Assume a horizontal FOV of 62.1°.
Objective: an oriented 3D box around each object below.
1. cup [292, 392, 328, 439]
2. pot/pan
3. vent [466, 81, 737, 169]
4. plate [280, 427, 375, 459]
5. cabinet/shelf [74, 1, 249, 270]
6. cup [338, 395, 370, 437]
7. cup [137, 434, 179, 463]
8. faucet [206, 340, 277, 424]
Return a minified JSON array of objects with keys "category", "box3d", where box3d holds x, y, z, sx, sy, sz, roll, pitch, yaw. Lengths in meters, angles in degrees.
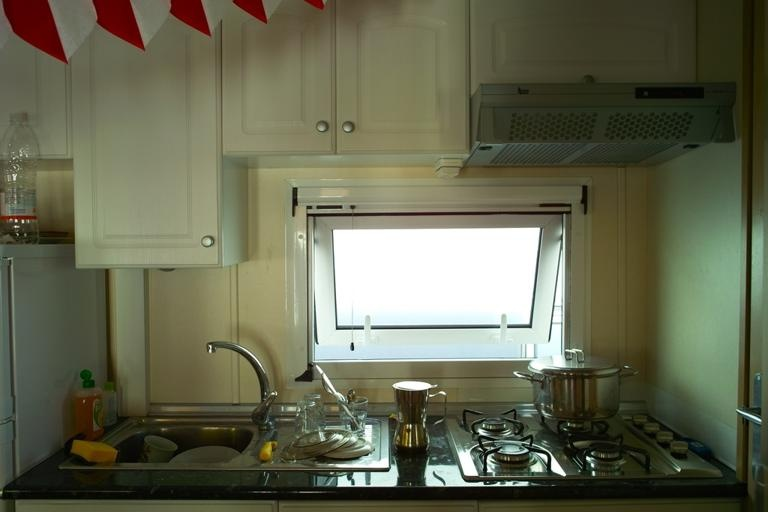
[{"category":"cup","box3d":[-0.311,0.674,2.697,0.120,0.164,0.169,0,-4,-1]},{"category":"pot/pan","box3d":[0.810,0.547,2.779,0.449,0.233,0.332,-1,2,-1]},{"category":"vent","box3d":[0.864,-0.546,2.669,1.027,0.315,0.408,-3,4,0]},{"category":"plate","box3d":[-0.230,0.773,2.616,0.367,0.077,0.172,-3,4,-2]},{"category":"cabinet/shelf","box3d":[-0.924,-0.519,2.827,0.746,0.999,0.713,-5,24,-18]},{"category":"cup","box3d":[-0.123,0.670,2.710,0.144,0.152,0.143,-2,-1,0]},{"category":"cup","box3d":[-0.981,0.839,2.801,0.116,0.103,0.137,0,5,32]},{"category":"faucet","box3d":[-0.627,0.558,2.873,0.280,0.385,0.213,-3,4,-9]}]
